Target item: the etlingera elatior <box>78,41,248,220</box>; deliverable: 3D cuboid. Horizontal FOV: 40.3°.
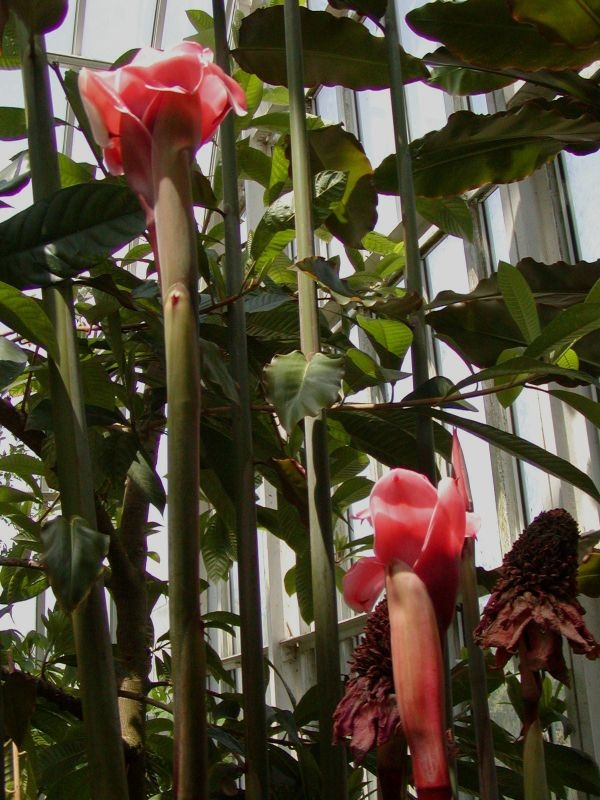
[{"bbox_3d":[-0.056,-0.109,0.338,0.057,0.054,0.058,2,-68,6],"label":"etlingera elatior"}]
